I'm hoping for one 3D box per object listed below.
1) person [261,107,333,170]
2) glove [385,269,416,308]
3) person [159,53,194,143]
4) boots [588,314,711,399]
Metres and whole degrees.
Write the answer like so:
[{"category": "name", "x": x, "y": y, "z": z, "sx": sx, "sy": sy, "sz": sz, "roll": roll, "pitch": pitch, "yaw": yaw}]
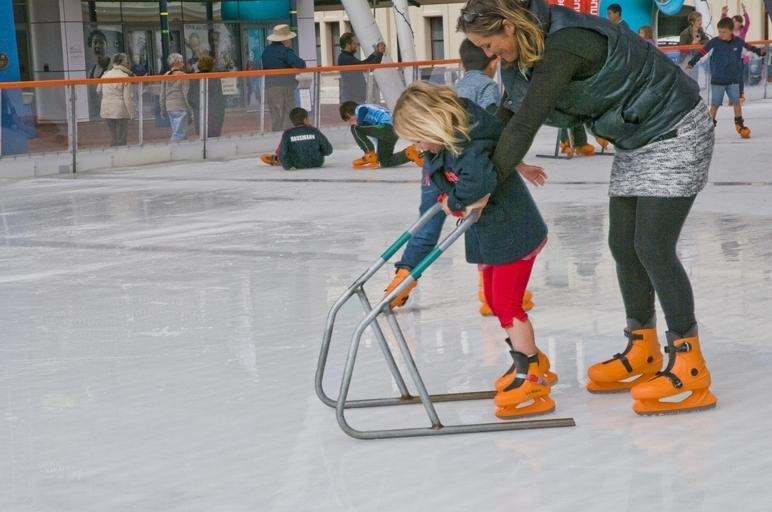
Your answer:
[{"category": "person", "x": -1.425, "y": -1.614, "z": 13.741, "sx": 0.934, "sy": 0.669, "sz": 1.107, "roll": -3, "pitch": 13, "yaw": -20}, {"category": "glove", "x": 0.085, "y": 0.162, "z": 5.234, "sx": 0.148, "sy": 0.119, "sz": 0.320, "roll": -38, "pitch": -9, "yaw": -19}, {"category": "person", "x": -3.221, "y": -2.246, "z": 14.986, "sx": 0.181, "sy": 1.032, "sz": 0.533, "roll": 10, "pitch": 18, "yaw": 42}, {"category": "boots", "x": 1.249, "y": 0.475, "z": 4.589, "sx": 0.488, "sy": 0.273, "sz": 0.539, "roll": -1, "pitch": -1, "yaw": -21}]
